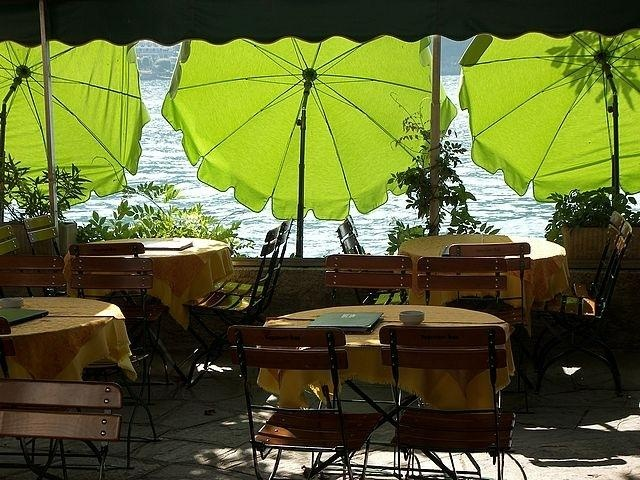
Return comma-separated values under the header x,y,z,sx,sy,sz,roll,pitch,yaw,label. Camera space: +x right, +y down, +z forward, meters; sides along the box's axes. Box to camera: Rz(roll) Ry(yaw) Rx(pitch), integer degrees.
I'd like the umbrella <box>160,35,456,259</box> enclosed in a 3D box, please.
x,y,z,sx,sy,sz,roll,pitch,yaw,label
-0.011,-1.614,10.055,3.845,3.096,3.424,-3,32,6,umbrella

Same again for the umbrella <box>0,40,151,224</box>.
x,y,z,sx,sy,sz,roll,pitch,yaw,label
-3.421,-1.586,8.857,2.030,2.220,2.128,-2,10,-8,umbrella

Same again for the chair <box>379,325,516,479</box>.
x,y,z,sx,sy,sz,roll,pitch,yaw,label
0.647,0.785,3.236,0.713,0.808,0.539,-1,11,-3,chair

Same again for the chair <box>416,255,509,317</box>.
x,y,z,sx,sy,sz,roll,pitch,yaw,label
1.066,0.375,5.044,0.670,0.743,0.582,1,13,6,chair
